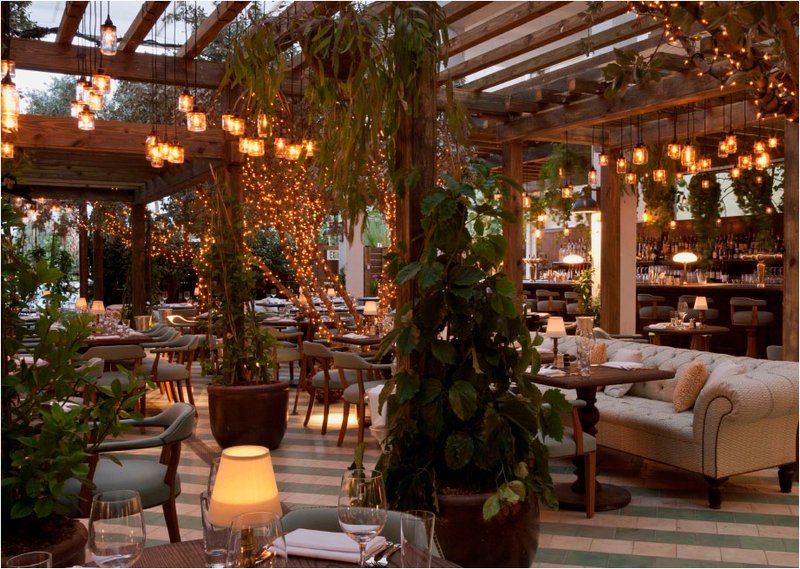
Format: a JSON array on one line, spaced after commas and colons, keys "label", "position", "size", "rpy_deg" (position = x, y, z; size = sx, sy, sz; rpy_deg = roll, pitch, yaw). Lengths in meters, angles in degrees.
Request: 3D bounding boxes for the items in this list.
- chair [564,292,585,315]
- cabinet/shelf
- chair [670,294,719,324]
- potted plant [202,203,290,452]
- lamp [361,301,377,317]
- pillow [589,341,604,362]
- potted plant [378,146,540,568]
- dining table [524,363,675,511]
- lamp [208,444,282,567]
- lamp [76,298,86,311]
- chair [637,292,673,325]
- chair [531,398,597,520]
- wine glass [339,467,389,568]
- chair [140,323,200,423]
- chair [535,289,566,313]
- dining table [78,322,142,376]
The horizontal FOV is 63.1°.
[{"label": "chair", "position": [3.370, 0.364, 12.815], "size": [0.512, 0.552, 0.496], "rpy_deg": [0, -3, -2]}, {"label": "cabinet/shelf", "position": [5.375, -0.677, 14.716], "size": [5.859, 0.887, 3.483], "rpy_deg": [3, 4, 42]}, {"label": "chair", "position": [5.043, 0.414, 11.121], "size": [0.457, 0.587, 0.534], "rpy_deg": [2, -8, -7]}, {"label": "potted plant", "position": [-1.640, 0.448, 6.728], "size": [0.803, 2.544, 0.699], "rpy_deg": [3, 5, 37]}, {"label": "lamp", "position": [-0.483, 0.350, 9.830], "size": [0.240, 0.231, 0.248], "rpy_deg": [0, -3, 7]}, {"label": "pillow", "position": [2.019, 0.692, 6.728], "size": [0.104, 0.209, 0.108], "rpy_deg": [14, 0, 35]}, {"label": "potted plant", "position": [0.343, 0.462, 3.502], "size": [0.908, 2.203, 0.641], "rpy_deg": [1, 4, 10]}, {"label": "dining table", "position": [1.741, 1.256, 5.918], "size": [1.342, 1.328, 1.337], "rpy_deg": [1, -3, -17]}, {"label": "lamp", "position": [-0.506, 0.757, 2.320], "size": [0.291, 0.511, 0.297], "rpy_deg": [4, -6, -23]}, {"label": "lamp", "position": [-4.911, 0.306, 10.031], "size": [0.172, 0.176, 0.169], "rpy_deg": [-3, 5, -26]}, {"label": "chair", "position": [4.753, 0.440, 12.309], "size": [0.678, 0.796, 0.625], "rpy_deg": [-2, 0, 4]}, {"label": "chair", "position": [1.411, 1.351, 5.359], "size": [0.387, 0.900, 1.324], "rpy_deg": [1, 3, 17]}, {"label": "wine glass", "position": [-0.142, 0.868, 2.418], "size": [0.172, 0.353, 0.267], "rpy_deg": [0, 4, -5]}, {"label": "chair", "position": [-2.842, 1.073, 8.043], "size": [0.966, 1.347, 1.146], "rpy_deg": [2, -3, -21]}, {"label": "chair", "position": [3.358, 0.363, 14.491], "size": [0.550, 0.676, 0.502], "rpy_deg": [-2, 3, -29]}, {"label": "dining table", "position": [-3.622, 0.927, 8.264], "size": [0.684, 0.672, 2.479], "rpy_deg": [-1, 3, -22]}]
